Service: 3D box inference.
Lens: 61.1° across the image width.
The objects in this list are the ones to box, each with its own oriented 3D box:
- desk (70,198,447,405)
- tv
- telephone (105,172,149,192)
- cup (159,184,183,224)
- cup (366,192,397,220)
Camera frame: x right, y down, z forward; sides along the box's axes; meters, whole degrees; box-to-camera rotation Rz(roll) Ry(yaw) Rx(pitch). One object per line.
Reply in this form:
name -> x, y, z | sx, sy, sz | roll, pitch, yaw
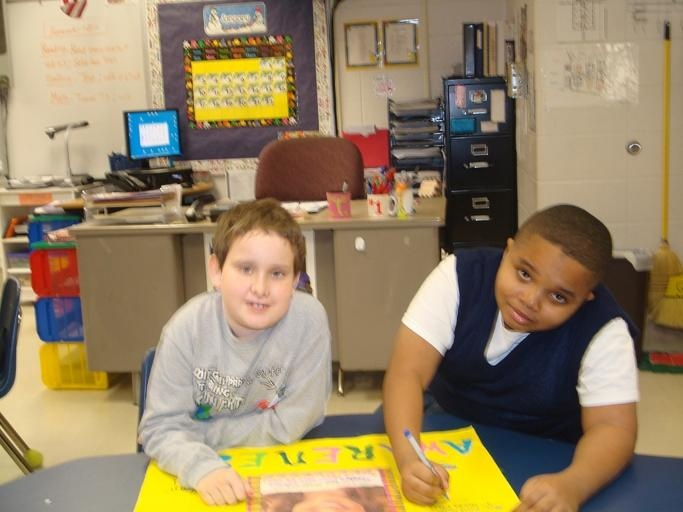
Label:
desk -> -0.399, -0.078, 3.334 | 1.709, 1.001, 1.033 | 0, 39, 5
tv -> -1.543, -0.998, 4.880 | 0.476, 0.464, 0.192 | -1, 10, 12
telephone -> -1.618, -0.565, 4.363 | 0.260, 0.145, 0.141 | -2, 11, 7
cup -> -0.872, -0.262, 2.986 | 0.090, 0.250, 0.076 | 4, -4, -25
cup -> 0.199, -0.239, 2.875 | 0.139, 0.105, 0.094 | 0, 12, 6
